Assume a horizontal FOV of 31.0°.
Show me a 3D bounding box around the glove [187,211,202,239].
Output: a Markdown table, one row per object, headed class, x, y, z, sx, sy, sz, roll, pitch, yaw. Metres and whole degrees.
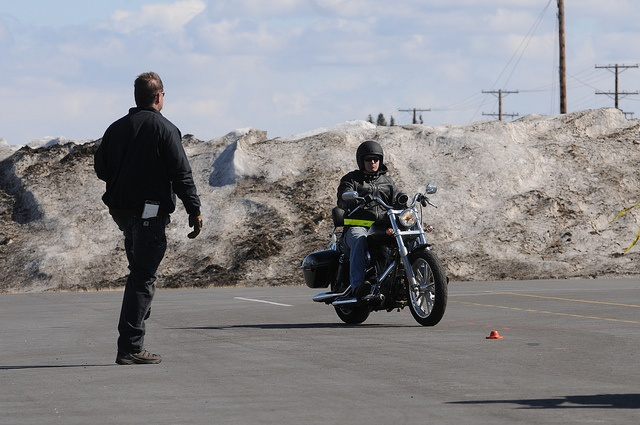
| class | x | y | z | sx | sy | sz | roll | pitch | yaw |
| --- | --- | --- | --- | --- | --- | --- | --- | --- | --- |
| glove | -2.643 | 0.262 | 24.093 | 0.252 | 0.509 | 0.428 | -2 | 7 | -10 |
